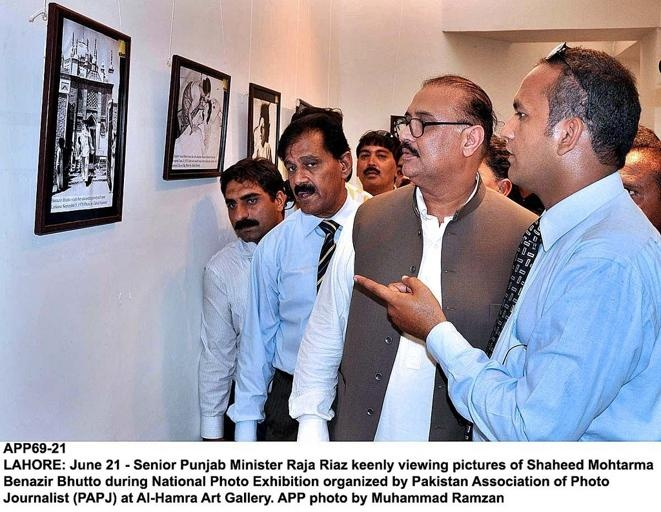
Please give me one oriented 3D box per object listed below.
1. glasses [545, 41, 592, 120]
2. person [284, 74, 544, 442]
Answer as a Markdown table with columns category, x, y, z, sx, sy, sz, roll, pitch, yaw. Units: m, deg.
| category | x | y | z | sx | sy | sz | roll | pitch | yaw |
| --- | --- | --- | --- | --- | --- | --- | --- | --- | --- |
| glasses | 0.624 | -0.457 | 1.394 | 0.088 | 0.181 | 0.144 | 5 | 11 | 25 |
| person | 0.402 | 0.269 | 2.173 | 0.880 | 1.932 | 0.569 | -4 | 35 | 14 |
